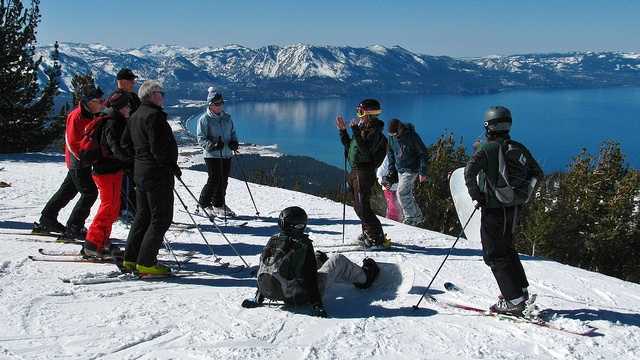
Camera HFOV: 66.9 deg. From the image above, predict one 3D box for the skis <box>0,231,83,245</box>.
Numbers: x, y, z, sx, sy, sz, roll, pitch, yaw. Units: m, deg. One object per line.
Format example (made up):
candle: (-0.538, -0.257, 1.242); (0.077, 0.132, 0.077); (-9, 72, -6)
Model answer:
skis: (-7.318, 1.538, 12.848); (2.335, 0.252, 0.151); (3, -23, 1)

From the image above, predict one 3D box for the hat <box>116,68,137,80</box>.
hat: (-4.918, -2.696, 12.349); (0.397, 0.208, 0.270); (-9, 16, 4)

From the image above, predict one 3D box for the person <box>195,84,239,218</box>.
person: (-3.162, -0.781, 14.909); (1.141, 4.020, 0.658); (-1, 11, -14)

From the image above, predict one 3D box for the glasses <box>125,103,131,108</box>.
glasses: (-4.761, -1.854, 12.041); (0.028, 0.096, 0.105); (-10, 0, 38)

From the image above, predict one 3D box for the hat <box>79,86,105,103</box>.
hat: (-5.918, -2.246, 12.559); (0.492, 0.397, 0.366); (-26, 28, 11)

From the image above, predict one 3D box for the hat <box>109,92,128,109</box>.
hat: (-5.000, -1.948, 11.971); (0.463, 0.274, 0.355); (-14, 13, 36)

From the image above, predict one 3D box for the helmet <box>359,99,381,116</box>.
helmet: (1.275, -1.915, 12.753); (0.573, 0.421, 0.462); (3, 10, 9)

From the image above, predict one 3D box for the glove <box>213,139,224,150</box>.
glove: (-3.062, -1.076, 14.643); (0.314, 0.304, 0.206); (-1, 10, -14)

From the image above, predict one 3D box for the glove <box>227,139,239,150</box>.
glove: (-2.639, -1.077, 14.847); (0.264, 0.278, 0.328); (-7, 6, 5)

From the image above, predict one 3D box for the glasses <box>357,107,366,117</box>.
glasses: (1.070, -1.759, 12.734); (0.222, 0.145, 0.174); (-6, 14, -34)

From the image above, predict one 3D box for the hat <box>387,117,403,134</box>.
hat: (2.206, -1.666, 14.948); (0.370, 0.432, 0.478); (5, 47, 35)

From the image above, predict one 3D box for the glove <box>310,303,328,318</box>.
glove: (-0.036, 2.941, 10.897); (0.229, 0.364, 0.379); (-21, -36, 32)
